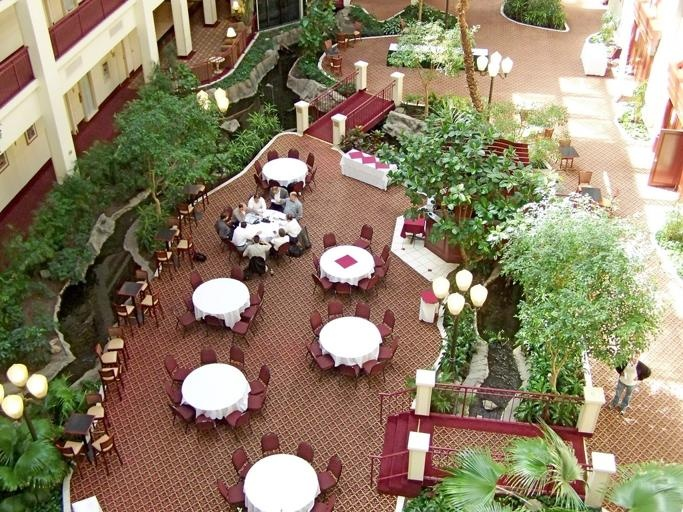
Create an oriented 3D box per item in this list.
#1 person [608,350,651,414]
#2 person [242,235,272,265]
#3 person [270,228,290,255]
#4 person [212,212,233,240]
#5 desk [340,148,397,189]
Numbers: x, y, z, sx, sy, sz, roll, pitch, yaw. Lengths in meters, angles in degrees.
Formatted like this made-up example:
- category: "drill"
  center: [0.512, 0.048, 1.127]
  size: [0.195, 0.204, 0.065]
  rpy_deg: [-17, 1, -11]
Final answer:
- category: "person"
  center: [6.682, 2.932, 12.116]
  size: [0.732, 1.627, 0.478]
  rpy_deg: [16, 32, 28]
- category: "person"
  center: [-2.554, -0.250, 16.051]
  size: [0.892, 1.489, 0.848]
  rpy_deg: [8, 74, -6]
- category: "person"
  center: [-1.927, -0.498, 16.090]
  size: [0.361, 0.972, 0.546]
  rpy_deg: [-10, 64, -16]
- category: "person"
  center: [-3.814, -0.959, 16.666]
  size: [0.403, 0.827, 0.465]
  rpy_deg: [32, 62, 8]
- category: "desk"
  center: [0.952, -3.361, 19.301]
  size: [1.975, 0.833, 1.268]
  rpy_deg: [30, 59, 20]
